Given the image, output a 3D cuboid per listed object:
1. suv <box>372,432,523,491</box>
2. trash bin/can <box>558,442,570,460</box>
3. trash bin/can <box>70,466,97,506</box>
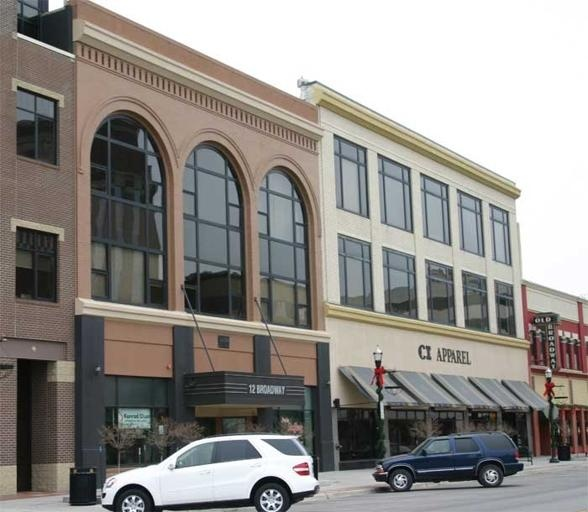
[{"bbox_3d":[5.331,7.263,30.247,4.351,1.976,2.184,3,-16,-7],"label":"suv"},{"bbox_3d":[14.755,10.797,47.736,0.743,0.910,0.777,1,-5,-21],"label":"trash bin/can"},{"bbox_3d":[-6.002,6.636,24.862,0.833,0.987,0.907,1,-9,-2],"label":"trash bin/can"}]
